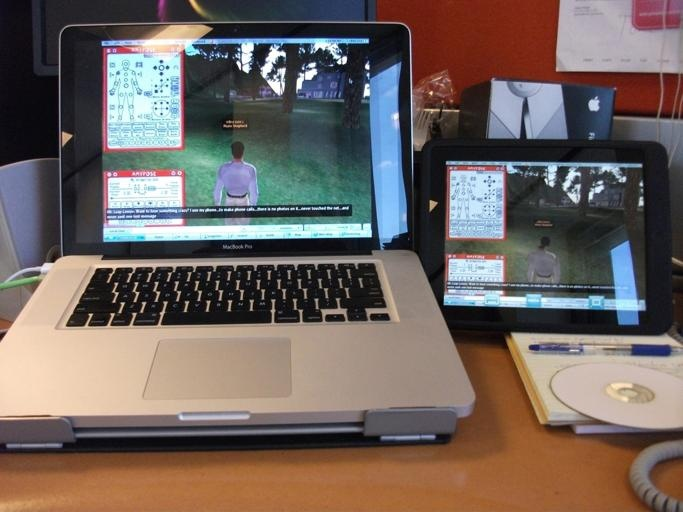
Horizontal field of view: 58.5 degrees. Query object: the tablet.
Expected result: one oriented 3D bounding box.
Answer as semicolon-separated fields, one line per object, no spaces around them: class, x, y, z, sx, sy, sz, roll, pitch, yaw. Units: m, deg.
tablet;0.312;-0.021;0.892;0.295;0.233;0.031;2;-6;-1
